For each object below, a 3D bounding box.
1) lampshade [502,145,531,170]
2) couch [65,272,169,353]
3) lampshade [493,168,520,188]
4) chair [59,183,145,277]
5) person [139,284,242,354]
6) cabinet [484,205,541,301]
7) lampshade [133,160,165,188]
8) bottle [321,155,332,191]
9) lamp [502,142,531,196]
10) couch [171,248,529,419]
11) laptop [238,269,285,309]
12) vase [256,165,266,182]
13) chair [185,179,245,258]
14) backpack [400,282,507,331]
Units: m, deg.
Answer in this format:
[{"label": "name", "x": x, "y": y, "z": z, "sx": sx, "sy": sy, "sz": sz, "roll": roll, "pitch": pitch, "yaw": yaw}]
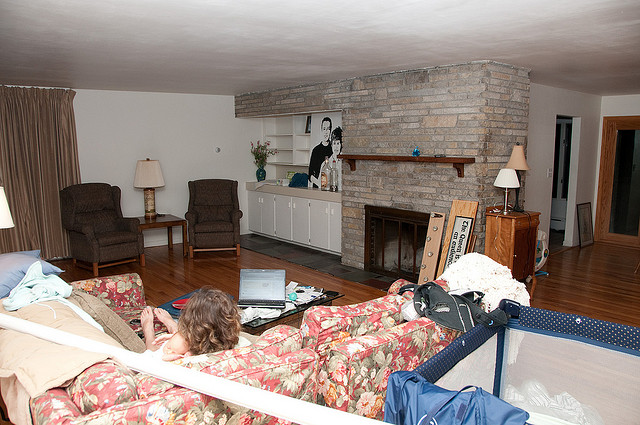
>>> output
[{"label": "lampshade", "x": 2.513, "y": -0.715, "z": 5.066, "sx": 0.266, "sy": 0.296, "sz": 0.305, "roll": 2, "pitch": 10, "yaw": 21}, {"label": "couch", "x": -1.631, "y": 0.825, "z": 3.309, "sx": 0.683, "sy": 0.649, "sz": 0.692, "roll": -9, "pitch": 20, "yaw": -40}, {"label": "lampshade", "x": 2.345, "y": -0.442, "z": 4.922, "sx": 0.261, "sy": 0.245, "sz": 0.258, "roll": 2, "pitch": 8, "yaw": 25}, {"label": "chair", "x": -3.521, "y": 0.207, "z": 6.403, "sx": 0.884, "sy": 1.352, "sz": 1.088, "roll": -11, "pitch": 13, "yaw": -42}, {"label": "person", "x": -0.954, "y": 0.765, "z": 2.832, "sx": 0.432, "sy": 0.443, "sz": 0.825, "roll": 11, "pitch": 7, "yaw": -41}, {"label": "cabinet", "x": 2.533, "y": 0.540, "z": 5.296, "sx": 0.788, "sy": 1.237, "sz": 0.507, "roll": -5, "pitch": 9, "yaw": -44}, {"label": "lampshade", "x": -3.163, "y": -0.731, "z": 7.197, "sx": 0.501, "sy": 0.479, "sz": 0.492, "roll": -6, "pitch": 10, "yaw": -33}, {"label": "bottle", "x": 0.121, "y": -0.771, "z": 7.314, "sx": 0.204, "sy": 0.621, "sz": 0.412, "roll": -2, "pitch": 10, "yaw": 0}, {"label": "lamp", "x": 2.566, "y": -0.542, "z": 5.116, "sx": 0.323, "sy": 0.661, "sz": 0.329, "roll": -9, "pitch": 12, "yaw": -36}, {"label": "couch", "x": 0.386, "y": 0.868, "z": 2.510, "sx": 2.298, "sy": 0.757, "sz": 0.833, "roll": -9, "pitch": 12, "yaw": -40}, {"label": "laptop", "x": -0.527, "y": 0.680, "z": 3.573, "sx": 0.466, "sy": 0.291, "sz": 0.304, "roll": 2, "pitch": 3, "yaw": -3}, {"label": "vase", "x": -1.275, "y": -0.878, "z": 8.594, "sx": 0.213, "sy": 0.353, "sz": 0.353, "roll": -4, "pitch": 10, "yaw": -12}, {"label": "chair", "x": -1.934, "y": 0.074, "z": 7.189, "sx": 0.952, "sy": 1.327, "sz": 0.907, "roll": -5, "pitch": 10, "yaw": -16}, {"label": "backpack", "x": 0.839, "y": 0.604, "z": 2.570, "sx": 0.366, "sy": 0.108, "sz": 0.283, "roll": -9, "pitch": 8, "yaw": 3}]
